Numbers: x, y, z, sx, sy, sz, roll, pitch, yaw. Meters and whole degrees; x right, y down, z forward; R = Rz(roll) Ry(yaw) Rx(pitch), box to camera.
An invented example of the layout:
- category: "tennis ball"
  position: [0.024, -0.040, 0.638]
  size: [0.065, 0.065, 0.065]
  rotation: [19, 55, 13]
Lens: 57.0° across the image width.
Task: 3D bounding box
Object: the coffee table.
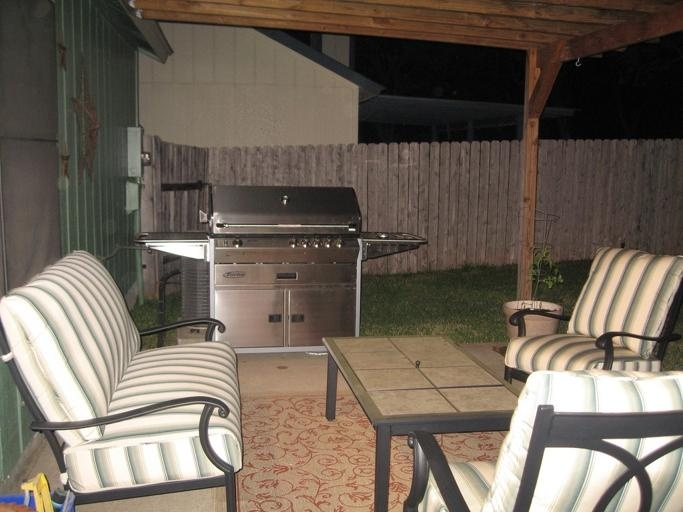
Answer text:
- category: "coffee table"
  position: [0.479, 0.758, 3.679]
  size: [0.737, 0.497, 1.255]
  rotation: [1, 13, -11]
